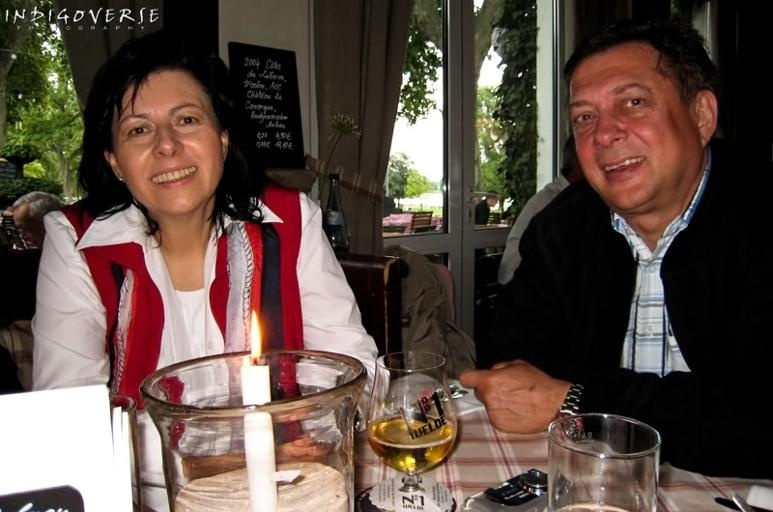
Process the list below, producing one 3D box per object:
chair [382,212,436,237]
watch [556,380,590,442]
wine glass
[{"bbox_3d":[0.154,-0.227,4.140,0.306,0.149,0.175,-6,10,-33],"label":"chair"},{"bbox_3d":[0.406,0.340,1.262,0.057,0.073,0.105,6,24,15],"label":"watch"},{"bbox_3d":[0.057,0.348,1.262,0.182,0.264,0.239,-3,3,5],"label":"wine glass"}]
